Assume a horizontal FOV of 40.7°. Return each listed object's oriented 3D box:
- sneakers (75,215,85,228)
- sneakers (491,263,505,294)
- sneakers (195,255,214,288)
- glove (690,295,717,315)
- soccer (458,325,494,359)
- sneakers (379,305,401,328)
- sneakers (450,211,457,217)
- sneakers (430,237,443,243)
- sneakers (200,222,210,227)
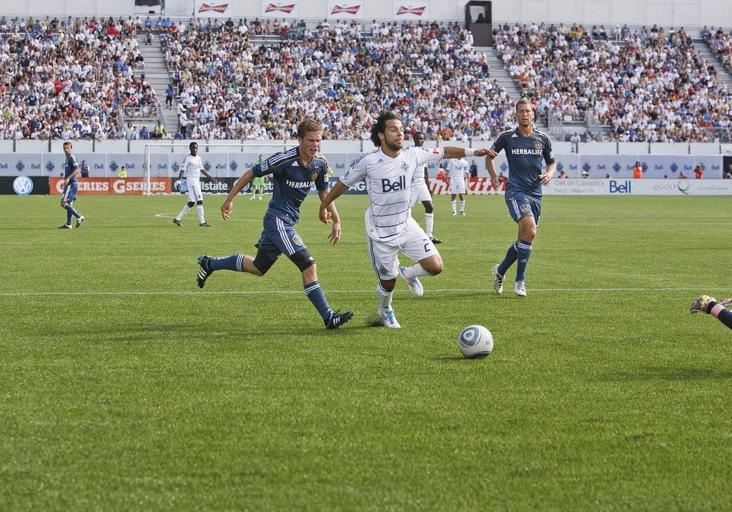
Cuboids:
[{"bbox_3d":[-6.674,-0.798,23.064,0.102,0.302,0.131,18,11,39],"label":"sneakers"},{"bbox_3d":[1.939,0.341,14.142,0.148,0.446,0.224,-8,3,-28],"label":"sneakers"},{"bbox_3d":[-2.203,0.261,13.293,0.200,0.586,0.298,-3,36,-20],"label":"sneakers"},{"bbox_3d":[3.866,0.557,11.295,0.171,0.164,0.335,21,-16,-1],"label":"glove"},{"bbox_3d":[1.253,0.956,10.973,0.356,0.361,0.351,11,-20,-26],"label":"soccer"},{"bbox_3d":[0.317,0.740,12.080,0.254,0.259,0.336,-3,8,-11],"label":"sneakers"},{"bbox_3d":[2.629,-1.247,29.403,0.203,0.251,0.598,-2,-1,7],"label":"sneakers"},{"bbox_3d":[1.425,-0.316,19.987,0.099,0.125,0.288,-5,2,-35],"label":"sneakers"},{"bbox_3d":[-3.911,-0.755,24.018,0.320,0.137,0.109,1,6,4],"label":"sneakers"}]
